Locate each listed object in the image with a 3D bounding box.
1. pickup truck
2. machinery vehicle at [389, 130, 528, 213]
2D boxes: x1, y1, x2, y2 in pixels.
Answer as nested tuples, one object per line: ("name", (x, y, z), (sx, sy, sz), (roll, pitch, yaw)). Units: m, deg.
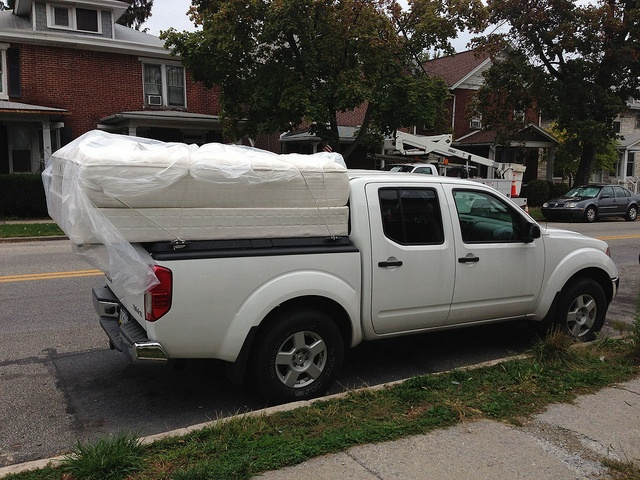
("pickup truck", (0.648, 0.271, 6.352), (5.566, 2.074, 2.437), (-6, 10, -27))
("machinery vehicle", (6.531, -2.774, 24.213), (7.911, 4.507, 2.302), (-4, -8, -31))
